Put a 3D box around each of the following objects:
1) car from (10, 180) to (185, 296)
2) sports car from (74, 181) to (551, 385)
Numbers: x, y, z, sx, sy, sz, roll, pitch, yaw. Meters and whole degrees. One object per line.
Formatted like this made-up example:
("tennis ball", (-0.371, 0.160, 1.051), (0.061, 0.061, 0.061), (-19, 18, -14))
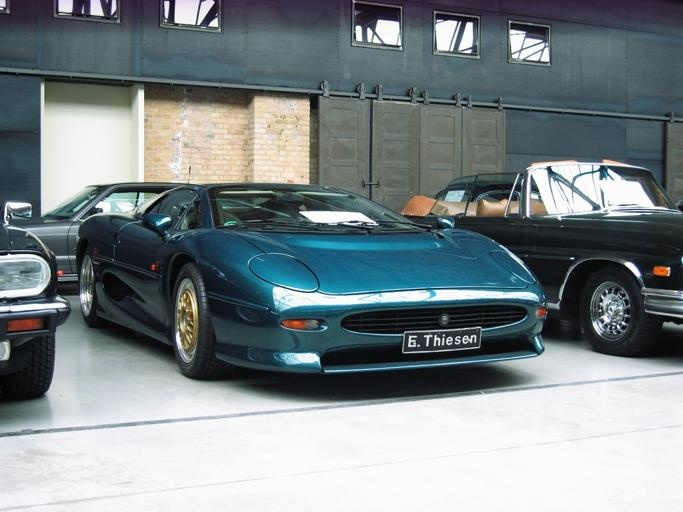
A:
("car", (-3.344, -0.588, 8.381), (3.461, 1.139, 1.759), (-4, 15, -11))
("sports car", (-0.699, 0.183, 4.295), (1.754, 0.789, 3.089), (0, 1, -30))
